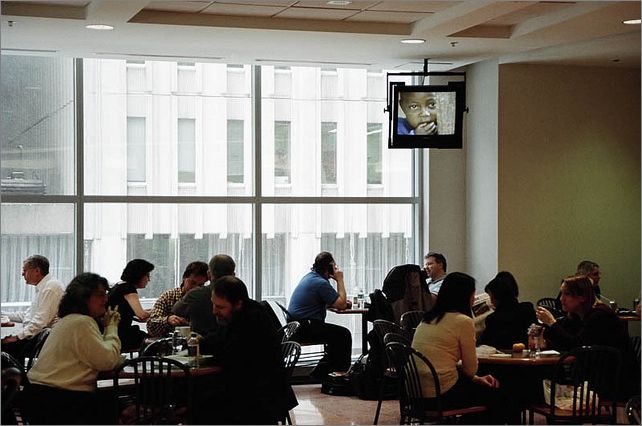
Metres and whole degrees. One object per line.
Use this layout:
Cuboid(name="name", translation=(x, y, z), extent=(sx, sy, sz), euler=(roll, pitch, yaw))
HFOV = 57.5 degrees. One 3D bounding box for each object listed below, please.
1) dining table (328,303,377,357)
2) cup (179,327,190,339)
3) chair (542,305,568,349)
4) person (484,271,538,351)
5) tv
Cuboid(name="dining table", translation=(0.491, 1.597, 8.213), extent=(0.774, 0.696, 0.748), euler=(0, -6, -6))
Cuboid(name="cup", translation=(-1.376, 1.199, 5.848), extent=(0.109, 0.075, 0.105), euler=(1, -6, 0))
Cuboid(name="chair", translation=(2.370, 1.186, 5.986), extent=(0.258, 0.477, 0.655), euler=(0, 0, 23))
Cuboid(name="person", translation=(1.976, 1.171, 6.146), extent=(0.537, 0.985, 0.458), euler=(-1, 1, 26))
Cuboid(name="tv", translation=(1.411, -1.304, 7.875), extent=(0.932, 0.779, 0.467), euler=(1, -1, -2))
